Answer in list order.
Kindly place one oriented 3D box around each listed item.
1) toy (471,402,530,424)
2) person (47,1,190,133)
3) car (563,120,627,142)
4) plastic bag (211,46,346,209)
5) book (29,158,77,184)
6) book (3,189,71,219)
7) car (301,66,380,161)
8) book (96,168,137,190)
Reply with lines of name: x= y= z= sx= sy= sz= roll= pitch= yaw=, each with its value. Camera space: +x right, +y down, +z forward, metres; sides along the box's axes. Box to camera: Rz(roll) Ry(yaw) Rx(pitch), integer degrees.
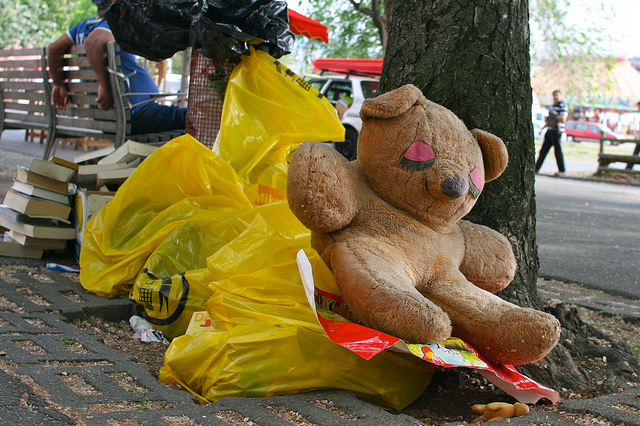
toy: x=1.067 y=1.169 z=4.465 sx=0.250 sy=0.084 sz=0.155 roll=-1 pitch=7 yaw=16
person: x=-2.255 y=-1.422 z=7.793 sx=1.461 sy=1.095 sz=2.197 roll=-4 pitch=8 yaw=-36
car: x=15.569 y=-4.662 z=43.669 sx=2.231 sy=1.231 sz=1.761 roll=8 pitch=8 yaw=15
plastic bag: x=-0.445 y=-0.704 z=5.883 sx=0.944 sy=1.235 sz=0.300 roll=37 pitch=-36 yaw=-10
book: x=-2.181 y=-0.327 z=6.011 sx=0.367 sy=0.185 sz=0.089 roll=3 pitch=9 yaw=-24
book: x=-2.376 y=-0.062 z=6.020 sx=0.595 sy=0.176 sz=0.221 roll=7 pitch=8 yaw=12
car: x=0.489 y=-2.093 z=15.532 sx=1.615 sy=1.349 sz=2.577 roll=-2 pitch=16 yaw=-38
book: x=-1.681 y=-0.270 z=6.022 sx=0.292 sy=0.193 sz=0.081 roll=4 pitch=8 yaw=-18
